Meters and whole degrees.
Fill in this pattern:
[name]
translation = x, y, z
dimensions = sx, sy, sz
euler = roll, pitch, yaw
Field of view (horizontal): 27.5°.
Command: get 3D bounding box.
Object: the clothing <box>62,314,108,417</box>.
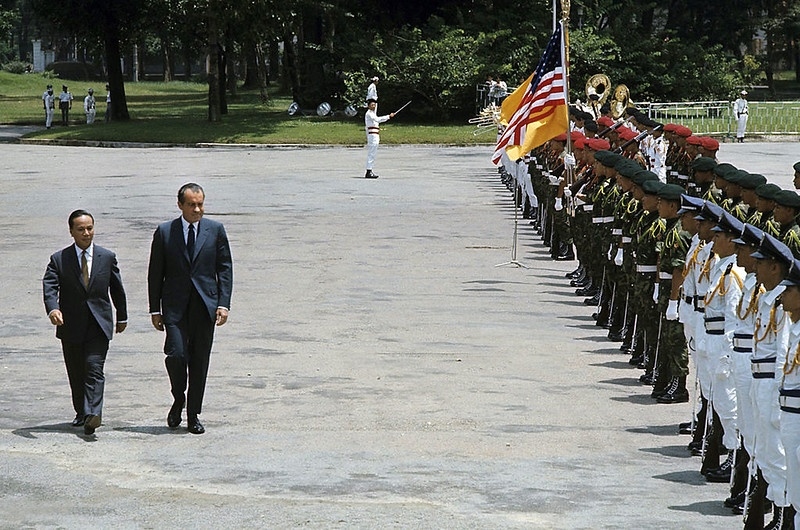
[clothing]
translation = -5.115, 1.763, 26.785
dimensions = 0.666, 1.568, 0.884
euler = -4, 15, -24
